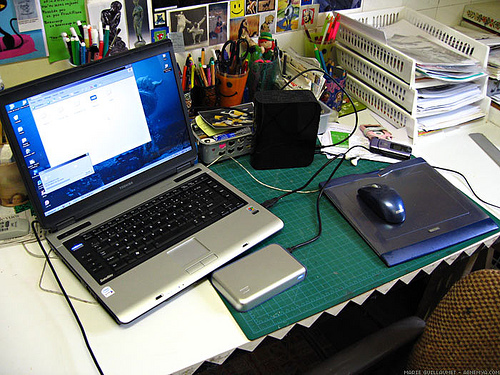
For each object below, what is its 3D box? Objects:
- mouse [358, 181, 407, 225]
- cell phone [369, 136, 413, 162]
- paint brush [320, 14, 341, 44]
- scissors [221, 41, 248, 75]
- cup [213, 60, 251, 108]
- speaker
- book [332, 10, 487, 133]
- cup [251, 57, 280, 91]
[{"bbox_3d":[0.358,0.025,0.987,0.084,0.056,0.157,-17,33,-15],"label":"mouse"},{"bbox_3d":[0.456,-0.115,1.206,0.131,0.035,0.061,20,51,6],"label":"cell phone"},{"bbox_3d":[0.292,-0.591,1.348,0.039,0.149,0.032,6,48,-3],"label":"paint brush"},{"bbox_3d":[-0.054,-0.406,1.209,0.097,0.134,0.134,3,14,-3],"label":"scissors"},{"bbox_3d":[-0.061,-0.322,1.199,0.076,0.114,0.074,2,53,-3],"label":"cup"},{"bbox_3d":[0.101,-0.166,1.084,0.222,0.241,0.086,-6,36,-11],"label":"speaker"},{"bbox_3d":[0.558,-0.421,1.441,0.389,0.269,0.561,-17,47,-17],"label":"book"},{"bbox_3d":[0.047,-0.386,1.226,0.083,0.107,0.062,-29,58,-22],"label":"cup"}]
